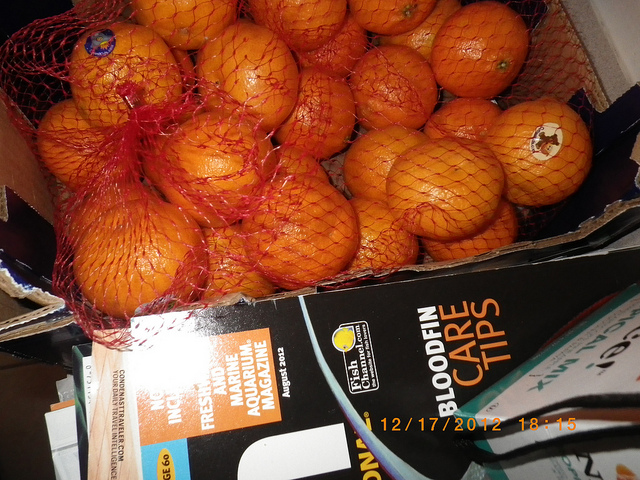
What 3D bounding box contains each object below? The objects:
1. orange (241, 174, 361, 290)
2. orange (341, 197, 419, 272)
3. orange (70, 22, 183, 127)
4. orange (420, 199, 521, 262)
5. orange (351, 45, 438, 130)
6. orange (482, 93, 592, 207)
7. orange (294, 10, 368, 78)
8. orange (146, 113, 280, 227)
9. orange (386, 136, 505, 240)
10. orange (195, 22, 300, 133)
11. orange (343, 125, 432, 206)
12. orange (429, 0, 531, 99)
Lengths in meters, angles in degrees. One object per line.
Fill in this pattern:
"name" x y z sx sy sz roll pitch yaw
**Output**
"orange" -0.056 -0.017 0.959 0.221 0.122 0.198 -13 94 -14
"orange" 0.121 -0.020 1.133 0.138 0.143 0.168 -5 14 4
"orange" -0.371 -0.322 1.063 0.215 0.117 0.186 10 61 17
"orange" 0.324 -0.073 1.182 0.156 0.152 0.178 -8 15 2
"orange" 0.160 -0.314 1.229 0.178 0.178 0.202 -7 42 5
"orange" 0.444 -0.177 1.119 0.184 0.174 0.179 -39 59 -13
"orange" 0.040 -0.402 1.114 0.122 0.081 0.149 -5 92 -9
"orange" -0.172 -0.148 1.069 0.241 0.186 0.141 -7 35 6
"orange" 0.239 -0.109 1.060 0.219 0.130 0.181 -9 57 6
"orange" -0.152 -0.370 1.135 0.230 0.127 0.231 6 22 4
"orange" 0.123 -0.162 1.120 0.174 0.161 0.173 -1 86 -4
"orange" 0.335 -0.396 1.148 0.202 0.154 0.133 -7 57 7
